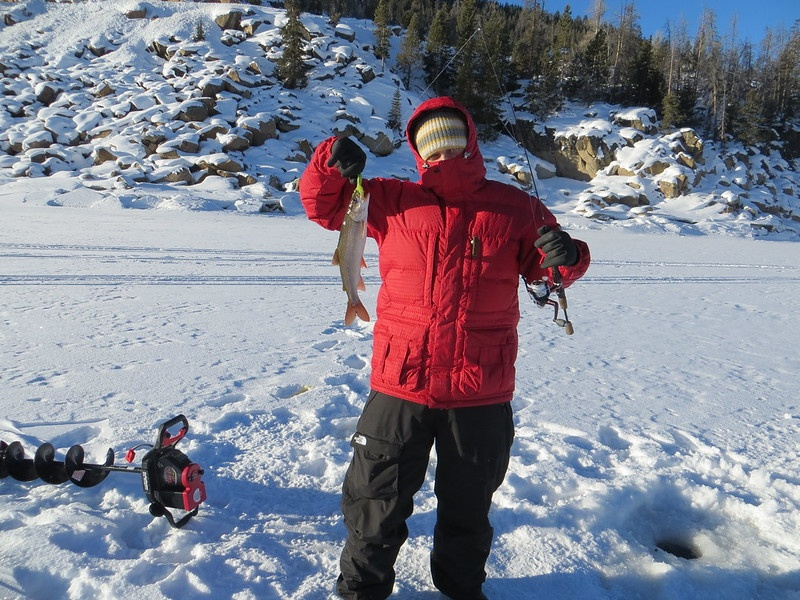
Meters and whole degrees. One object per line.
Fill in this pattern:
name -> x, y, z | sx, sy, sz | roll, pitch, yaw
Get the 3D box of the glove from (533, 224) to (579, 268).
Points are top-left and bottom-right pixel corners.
glove -> 1.387, -0.451, 5.799 | 0.296, 0.381, 0.425 | 13, 17, 28

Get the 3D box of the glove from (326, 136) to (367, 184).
glove -> -0.459, -1.216, 5.740 | 0.415, 0.304, 0.175 | 23, 63, 32

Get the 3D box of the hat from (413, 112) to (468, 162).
hat -> 0.354, -1.426, 6.005 | 0.424, 0.382, 0.513 | -4, -10, -25
